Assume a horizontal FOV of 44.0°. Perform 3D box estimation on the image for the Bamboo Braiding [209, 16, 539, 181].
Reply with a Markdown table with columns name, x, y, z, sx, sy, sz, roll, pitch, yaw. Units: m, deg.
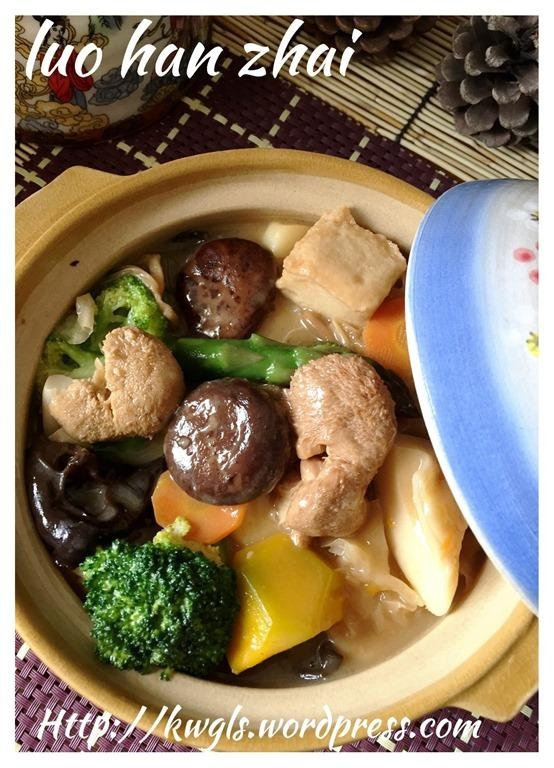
| name | x | y | z | sx | sy | sz | roll | pitch | yaw |
| --- | --- | --- | --- | --- | --- | --- | --- | --- | --- |
| Bamboo Braiding | 0.388 | -1.066 | 2.604 | 1.516 | 0.631 | 0.669 | 6 | 41 | 13 |

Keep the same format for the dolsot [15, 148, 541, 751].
| name | x | y | z | sx | sy | sz | roll | pitch | yaw |
| --- | --- | --- | --- | --- | --- | --- | --- | --- | --- |
| dolsot | -0.017 | 0.069 | 2.173 | 2.073 | 0.314 | 1.548 | -19 | 88 | -25 |
